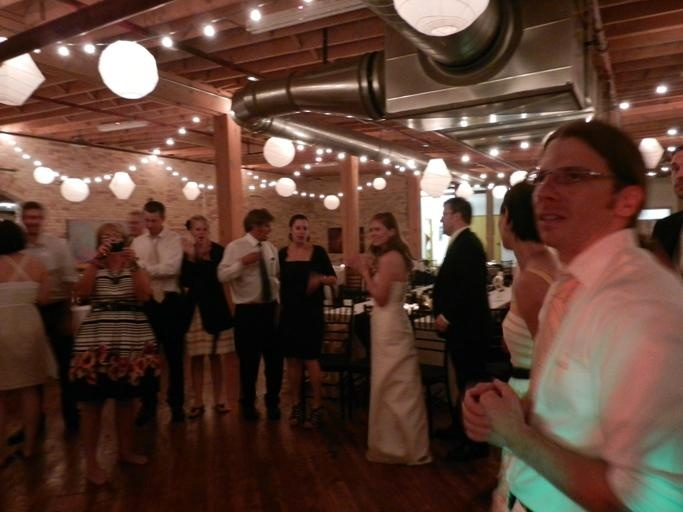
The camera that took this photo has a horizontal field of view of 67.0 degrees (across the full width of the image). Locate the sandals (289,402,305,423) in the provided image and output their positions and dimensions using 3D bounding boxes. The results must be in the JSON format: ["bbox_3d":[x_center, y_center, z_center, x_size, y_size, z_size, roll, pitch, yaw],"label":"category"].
[{"bbox_3d":[-0.396,1.427,4.661,0.119,0.117,0.198,0,-12,1],"label":"sandals"}]

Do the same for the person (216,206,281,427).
[{"bbox_3d":[-0.843,0.550,4.798,0.556,1.960,0.527,-3,8,-7],"label":"person"}]

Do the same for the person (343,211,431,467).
[{"bbox_3d":[0.384,0.624,3.927,0.575,1.892,0.353,0,8,10],"label":"person"}]

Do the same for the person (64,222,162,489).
[{"bbox_3d":[-1.641,0.714,3.707,0.570,1.835,0.521,-5,8,-25],"label":"person"}]

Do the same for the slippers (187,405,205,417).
[{"bbox_3d":[-1.372,1.466,4.847,0.104,0.096,0.123,1,22,4],"label":"slippers"}]

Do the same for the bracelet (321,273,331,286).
[{"bbox_3d":[-0.128,0.205,4.603,0.091,0.081,0.086,1,41,-12],"label":"bracelet"}]

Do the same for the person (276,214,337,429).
[{"bbox_3d":[-0.305,0.591,4.757,0.527,1.937,0.640,-2,8,-5],"label":"person"}]

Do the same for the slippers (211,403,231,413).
[{"bbox_3d":[-1.157,1.464,4.991,0.111,0.036,0.102,3,11,4],"label":"slippers"}]
